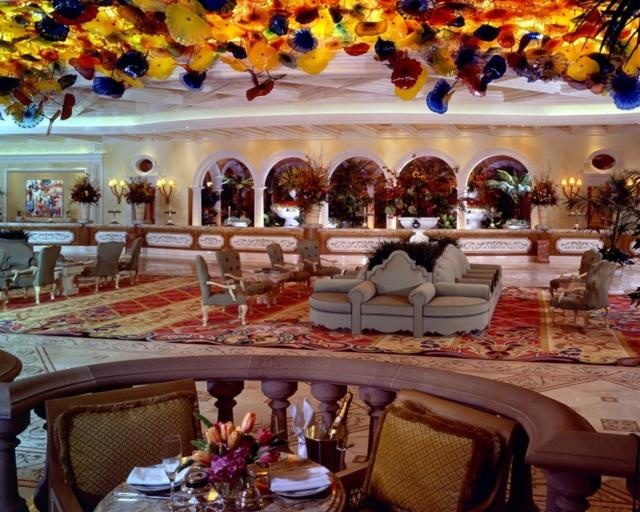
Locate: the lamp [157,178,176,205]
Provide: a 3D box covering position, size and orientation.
[{"bbox_3d":[-7.026,-2.948,19.290,0.786,1.180,0.262,-1,7,-18],"label":"lamp"}]

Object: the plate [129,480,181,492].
[{"bbox_3d":[-0.545,0.751,1.405,0.092,0.011,0.061,0,-5,5],"label":"plate"}]

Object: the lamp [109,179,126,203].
[{"bbox_3d":[-9.250,-2.971,19.383,0.762,1.112,1.263,-2,6,-25],"label":"lamp"}]

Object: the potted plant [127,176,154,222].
[{"bbox_3d":[-7.917,-2.497,18.641,1.133,2.026,1.689,-2,6,-21],"label":"potted plant"}]

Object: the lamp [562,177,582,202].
[{"bbox_3d":[9.606,-2.600,16.336,0.752,0.881,0.239,2,6,20],"label":"lamp"}]
